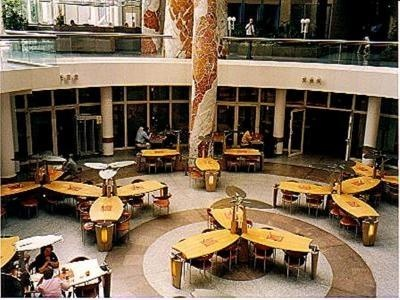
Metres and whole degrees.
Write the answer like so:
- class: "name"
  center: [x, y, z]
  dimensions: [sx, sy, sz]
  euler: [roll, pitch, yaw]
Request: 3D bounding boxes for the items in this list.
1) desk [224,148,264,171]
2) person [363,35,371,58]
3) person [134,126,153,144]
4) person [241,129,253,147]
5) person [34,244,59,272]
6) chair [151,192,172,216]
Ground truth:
- class: "desk"
  center: [2.218, 0.490, 16.611]
  dimensions: [2.054, 1.148, 1.588]
  euler: [-2, 13, 4]
- class: "person"
  center: [7.740, -4.649, 14.843]
  dimensions: [0.215, 0.739, 0.320]
  euler: [-13, 17, -39]
- class: "person"
  center: [-3.205, -0.803, 17.895]
  dimensions: [1.004, 0.984, 0.932]
  euler: [20, 29, 40]
- class: "person"
  center: [2.614, -0.541, 17.829]
  dimensions: [0.700, 0.968, 0.752]
  euler: [1, 14, 17]
- class: "person"
  center: [-3.947, 2.804, 8.160]
  dimensions: [0.435, 0.705, 0.534]
  euler: [0, -3, 37]
- class: "chair"
  center: [-1.461, 2.109, 12.119]
  dimensions: [0.613, 0.742, 0.530]
  euler: [-7, 24, -24]
